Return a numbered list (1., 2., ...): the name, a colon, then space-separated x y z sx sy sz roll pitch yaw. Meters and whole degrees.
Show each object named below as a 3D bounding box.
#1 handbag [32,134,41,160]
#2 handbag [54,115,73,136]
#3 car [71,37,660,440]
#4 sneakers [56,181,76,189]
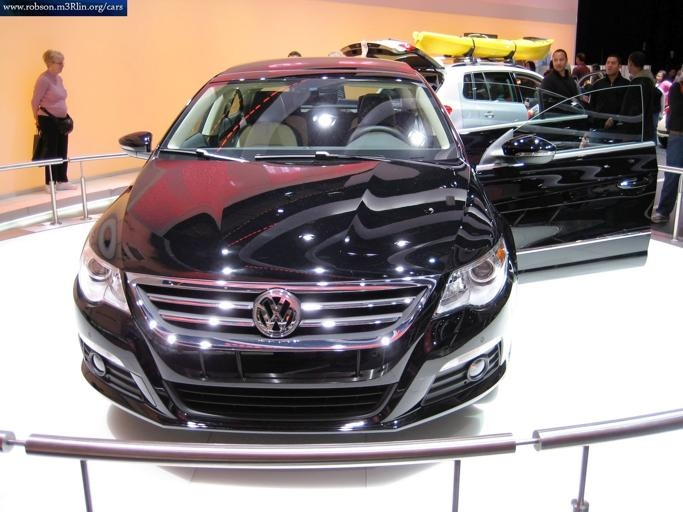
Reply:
1. handbag: -3.919 -1.404 6.209 0.084 0.325 0.217 -8 13 -42
2. handbag: -3.578 -1.697 6.265 0.212 0.173 0.236 -1 7 -14
3. car: 0.015 -0.081 2.567 2.279 0.794 2.262 1 30 6
4. sneakers: -3.670 -0.945 6.436 0.247 0.063 0.094 -3 -18 -28
